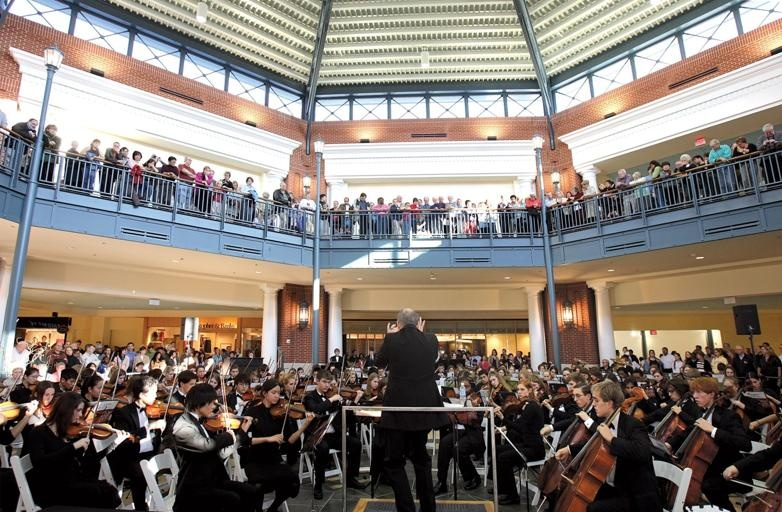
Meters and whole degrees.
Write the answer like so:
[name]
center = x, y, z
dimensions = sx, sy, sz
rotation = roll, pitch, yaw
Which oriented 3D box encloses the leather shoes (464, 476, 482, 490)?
[leather shoes]
center = 1.906, 5.405, 11.585
dimensions = 0.178, 0.220, 0.525
rotation = -21, -27, 32
